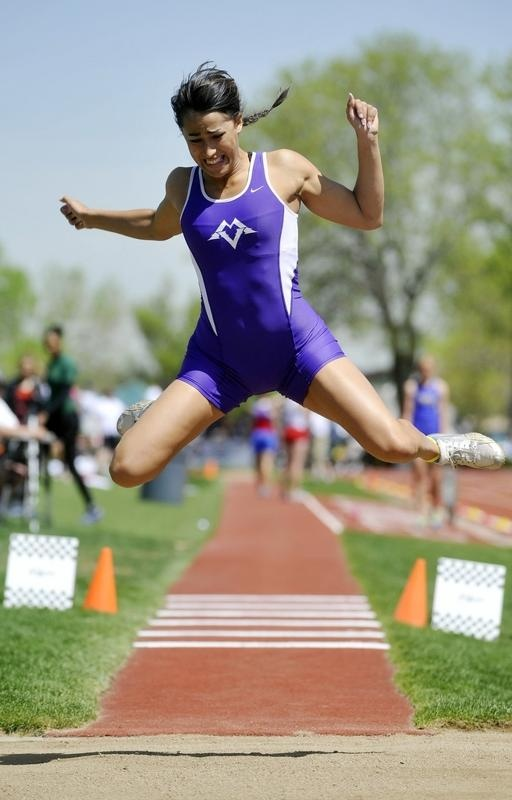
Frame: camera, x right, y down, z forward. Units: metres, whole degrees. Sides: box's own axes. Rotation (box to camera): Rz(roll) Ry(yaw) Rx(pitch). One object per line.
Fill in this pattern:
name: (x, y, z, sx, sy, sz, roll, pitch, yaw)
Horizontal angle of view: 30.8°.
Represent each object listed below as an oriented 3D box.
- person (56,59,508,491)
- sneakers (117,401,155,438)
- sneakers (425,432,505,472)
person: (0.059, -0.415, 3.283, 1.087, 1.410, 0.547, 1, 4, -5)
sneakers: (-0.467, 0.062, 3.485, 0.162, 0.057, 0.121, -40, -4, -9)
sneakers: (0.756, 0.197, 3.581, 0.371, 0.112, 0.133, -3, 6, -9)
